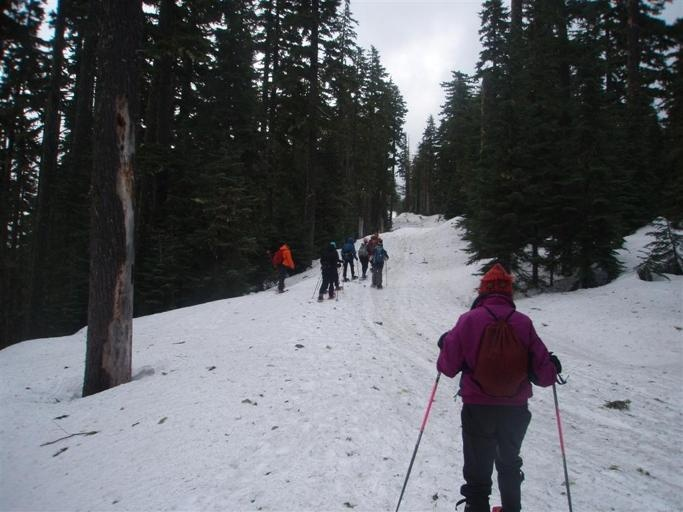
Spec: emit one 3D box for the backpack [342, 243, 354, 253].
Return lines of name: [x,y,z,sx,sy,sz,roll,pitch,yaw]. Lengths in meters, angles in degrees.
backpack: [0.339,-0.418,26.432,0.621,0.625,0.356,5,16,18]

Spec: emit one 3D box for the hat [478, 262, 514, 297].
hat: [3.559,0.498,13.232,0.606,0.717,0.786,3,6,12]

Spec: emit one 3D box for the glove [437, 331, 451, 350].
glove: [2.286,1.880,12.804,0.096,0.351,0.362,37,27,-5]

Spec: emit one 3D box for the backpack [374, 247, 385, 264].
backpack: [1.638,-0.074,24.713,0.468,0.740,0.349,-2,1,-11]

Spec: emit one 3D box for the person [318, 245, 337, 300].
person: [-0.549,0.578,22.968,0.807,2.237,1.173,-1,1,-1]

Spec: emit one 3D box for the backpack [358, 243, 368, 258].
backpack: [1.004,-0.309,26.763,0.418,0.648,0.539,-1,1,2]
